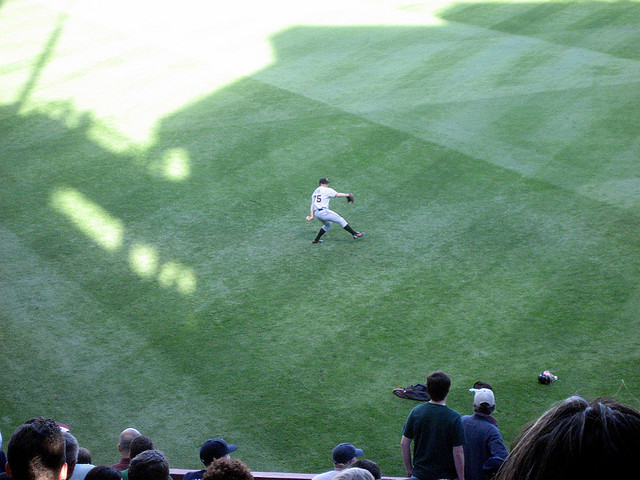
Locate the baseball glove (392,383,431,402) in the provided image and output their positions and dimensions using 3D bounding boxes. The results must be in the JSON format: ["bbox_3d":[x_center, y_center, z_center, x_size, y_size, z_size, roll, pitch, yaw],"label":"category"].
[{"bbox_3d":[1.861,3.138,28.268,0.677,0.365,0.443,-7,-9,-4],"label":"baseball glove"}]

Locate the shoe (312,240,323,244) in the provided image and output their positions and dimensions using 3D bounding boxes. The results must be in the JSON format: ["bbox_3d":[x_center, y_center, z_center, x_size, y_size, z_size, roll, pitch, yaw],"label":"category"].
[{"bbox_3d":[-0.060,0.020,31.644,0.222,0.050,0.072,-5,-8,0],"label":"shoe"}]

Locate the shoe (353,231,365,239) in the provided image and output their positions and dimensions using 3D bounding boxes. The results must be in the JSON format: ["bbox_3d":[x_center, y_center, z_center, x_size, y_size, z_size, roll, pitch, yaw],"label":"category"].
[{"bbox_3d":[0.878,-0.150,31.704,0.342,0.128,0.091,-23,35,4],"label":"shoe"}]
